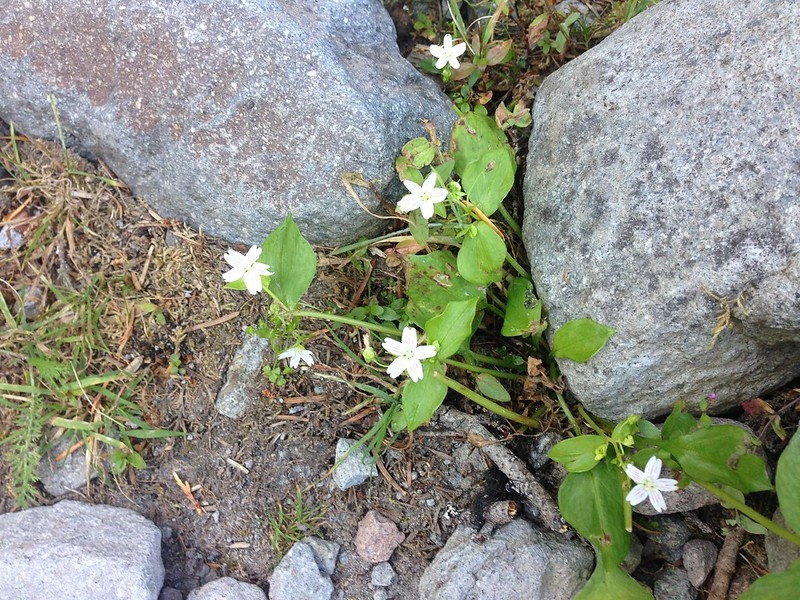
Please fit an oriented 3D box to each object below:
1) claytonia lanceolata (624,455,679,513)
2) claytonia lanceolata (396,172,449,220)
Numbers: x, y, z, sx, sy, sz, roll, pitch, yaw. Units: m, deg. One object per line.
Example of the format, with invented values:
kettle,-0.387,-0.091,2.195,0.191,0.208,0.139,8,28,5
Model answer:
claytonia lanceolata,1.209,0.910,3.463,0.275,0.249,0.219,2,55,-28
claytonia lanceolata,0.130,-0.566,3.769,0.239,0.263,0.071,31,12,-5
